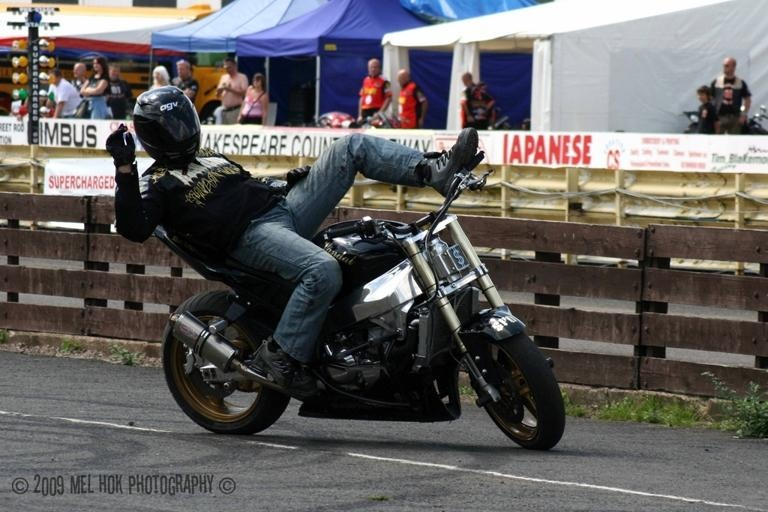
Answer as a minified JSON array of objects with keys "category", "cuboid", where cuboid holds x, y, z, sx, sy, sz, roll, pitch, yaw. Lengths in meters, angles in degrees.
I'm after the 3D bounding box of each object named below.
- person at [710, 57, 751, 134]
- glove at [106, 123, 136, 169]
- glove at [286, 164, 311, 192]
[{"category":"person","cuboid":[5.403,-2.289,24.375,0.684,1.536,0.533,3,14,14]},{"category":"glove","cuboid":[-2.512,-1.035,14.751,0.266,0.433,0.338,2,4,-10]},{"category":"glove","cuboid":[-0.890,-0.789,15.512,0.283,0.167,0.110,-39,8,1]}]
